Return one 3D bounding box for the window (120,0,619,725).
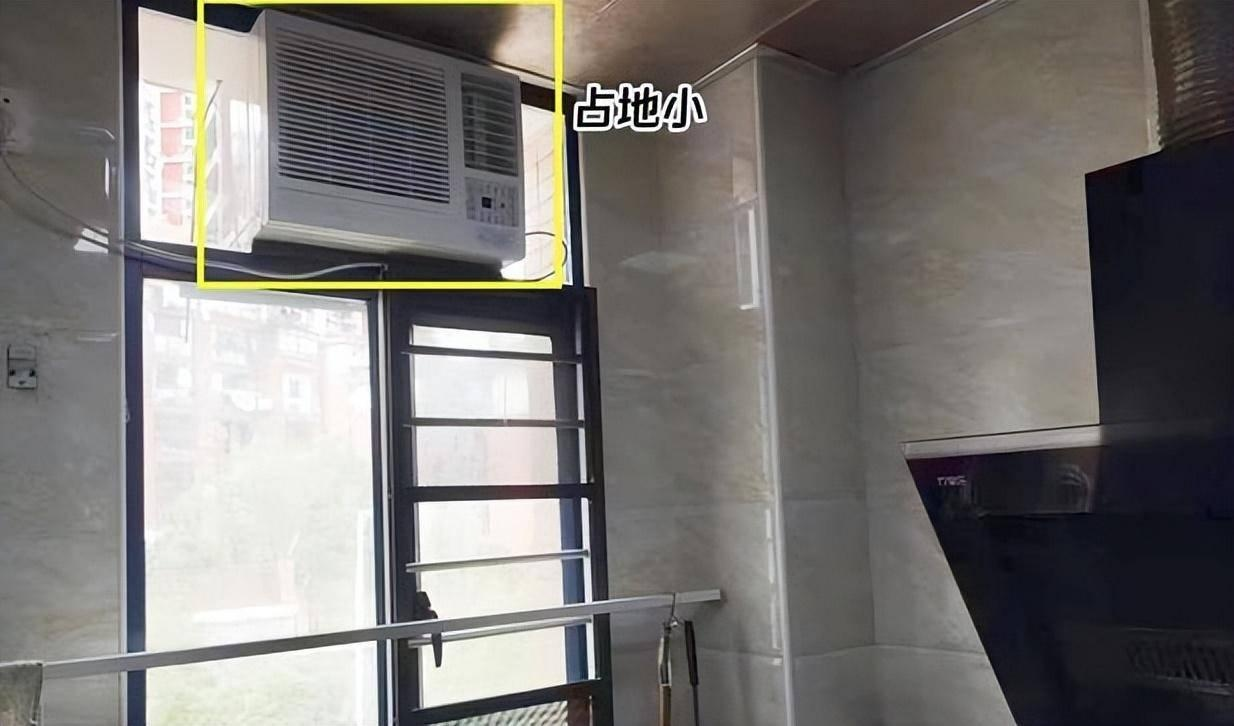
[{"bbox_3d":[-0.707,0.008,3.069,1.391,2.313,0.304,2,-7,-32],"label":"window"}]

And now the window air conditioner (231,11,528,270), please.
[{"bbox_3d":[-0.740,-0.679,3.275,0.916,0.682,0.325,4,-14,-35],"label":"window air conditioner"}]

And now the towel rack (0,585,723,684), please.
[{"bbox_3d":[-0.655,0.805,2.991,2.051,0.105,0.104,1,-6,-22],"label":"towel rack"}]
